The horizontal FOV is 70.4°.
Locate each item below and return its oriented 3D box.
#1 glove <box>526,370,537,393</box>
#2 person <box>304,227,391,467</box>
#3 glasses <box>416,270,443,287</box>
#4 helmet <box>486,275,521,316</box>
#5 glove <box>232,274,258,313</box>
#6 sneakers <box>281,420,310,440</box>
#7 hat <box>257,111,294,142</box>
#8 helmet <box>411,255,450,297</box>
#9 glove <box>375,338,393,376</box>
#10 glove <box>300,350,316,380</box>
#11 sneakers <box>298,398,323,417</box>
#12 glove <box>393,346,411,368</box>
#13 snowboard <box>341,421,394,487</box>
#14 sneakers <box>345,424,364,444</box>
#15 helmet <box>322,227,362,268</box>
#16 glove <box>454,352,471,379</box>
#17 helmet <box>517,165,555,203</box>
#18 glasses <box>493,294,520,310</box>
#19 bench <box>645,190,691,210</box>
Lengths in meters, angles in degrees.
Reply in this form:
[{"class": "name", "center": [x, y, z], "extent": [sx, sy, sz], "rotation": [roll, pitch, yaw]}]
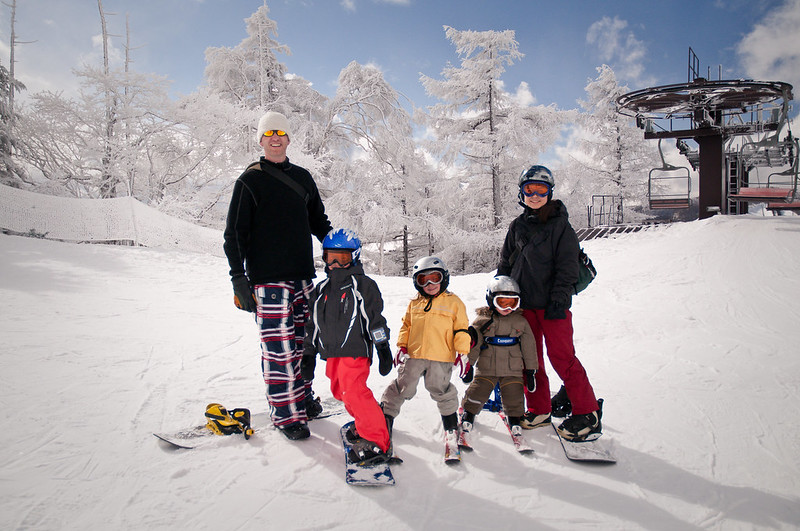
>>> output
[{"class": "glove", "center": [1.775, 1.532, 7.680], "extent": [0.184, 0.256, 0.105], "rotation": [-1, -10, 30]}, {"class": "person", "center": [-0.688, 1.015, 7.520], "extent": [1.187, 3.018, 0.556], "rotation": [1, 4, 27]}, {"class": "glasses", "center": [0.405, 0.163, 7.744], "extent": [0.222, 0.122, 0.258], "rotation": [-15, -16, 5]}, {"class": "helmet", "center": [1.456, 0.402, 7.938], "extent": [0.455, 0.542, 0.565], "rotation": [3, 10, -4]}, {"class": "glove", "center": [-2.065, 0.355, 7.598], "extent": [0.337, 0.444, 0.191], "rotation": [-14, 11, 1]}, {"class": "sneakers", "center": [-1.399, 2.214, 7.639], "extent": [0.193, 0.146, 0.347], "rotation": [-1, 6, -31]}, {"class": "hat", "center": [-1.708, -1.908, 7.746], "extent": [0.403, 0.367, 0.394], "rotation": [1, -2, -20]}, {"class": "helmet", "center": [0.536, 0.072, 7.861], "extent": [0.451, 0.512, 0.540], "rotation": [2, 16, 31]}, {"class": "glove", "center": [-0.208, 1.190, 7.410], "extent": [0.190, 0.463, 0.270], "rotation": [-1, 3, -5]}, {"class": "glove", "center": [-1.252, 1.364, 7.765], "extent": [0.233, 0.398, 0.121], "rotation": [1, 10, -10]}, {"class": "sneakers", "center": [-1.268, 2.010, 8.108], "extent": [0.281, 0.276, 0.176], "rotation": [-3, 5, 8]}, {"class": "glove", "center": [0.023, 1.224, 7.695], "extent": [0.227, 0.225, 0.085], "rotation": [15, -5, 33]}, {"class": "snowboard", "center": [-0.429, 2.441, 7.425], "extent": [0.613, 0.577, 0.753], "rotation": [-1, 3, -10]}, {"class": "sneakers", "center": [-0.624, 2.237, 7.603], "extent": [0.186, 0.234, 0.251], "rotation": [14, -15, 5]}, {"class": "helmet", "center": [-0.760, -0.276, 7.758], "extent": [0.470, 0.508, 0.594], "rotation": [5, 19, 21]}, {"class": "glove", "center": [0.829, 1.316, 7.608], "extent": [0.231, 0.303, 0.109], "rotation": [11, -6, -27]}, {"class": "helmet", "center": [1.930, -1.165, 7.953], "extent": [0.433, 0.500, 0.507], "rotation": [5, 6, 15]}, {"class": "glasses", "center": [1.456, 0.490, 7.677], "extent": [0.218, 0.126, 0.251], "rotation": [1, -16, 4]}, {"class": "bench", "center": [9.829, -2.345, 20.608], "extent": [1.286, 0.485, 3.059], "rotation": [1, 3, 22]}]
